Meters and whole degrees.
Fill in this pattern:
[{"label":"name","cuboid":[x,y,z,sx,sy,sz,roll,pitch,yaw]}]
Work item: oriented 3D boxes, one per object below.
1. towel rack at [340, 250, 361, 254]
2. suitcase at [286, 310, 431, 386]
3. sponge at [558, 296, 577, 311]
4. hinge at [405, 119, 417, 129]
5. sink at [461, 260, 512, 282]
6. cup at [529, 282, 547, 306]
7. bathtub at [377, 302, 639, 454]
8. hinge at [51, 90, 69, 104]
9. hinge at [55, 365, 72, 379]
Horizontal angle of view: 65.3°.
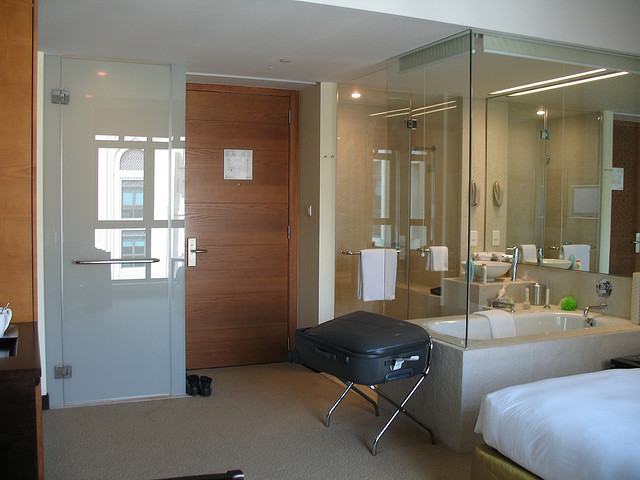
[{"label":"towel rack","cuboid":[0.305,0.108,4.958,0.193,0.059,0.052,0,21,34]},{"label":"suitcase","cuboid":[0.213,0.726,3.452,0.561,0.234,0.643,-2,5,-38]},{"label":"sponge","cuboid":[2.141,0.552,4.314,0.108,0.098,0.106,4,-2,-34]},{"label":"hinge","cuboid":[0.707,-0.904,3.887,0.005,0.087,0.136,-5,6,-30]},{"label":"sink","cuboid":[1.453,0.274,4.314,0.148,0.224,0.782,2,7,39]},{"label":"cup","cuboid":[1.975,0.487,4.515,0.148,0.193,0.116,2,6,36]},{"label":"bathtub","cuboid":[1.486,0.842,3.781,1.742,0.597,0.993,-2,5,-26]},{"label":"hinge","cuboid":[-2.121,-1.171,4.076,0.130,0.111,0.014,-4,6,-21]},{"label":"hinge","cuboid":[-2.148,1.102,4.159,0.116,0.104,0.019,0,8,-14]}]
